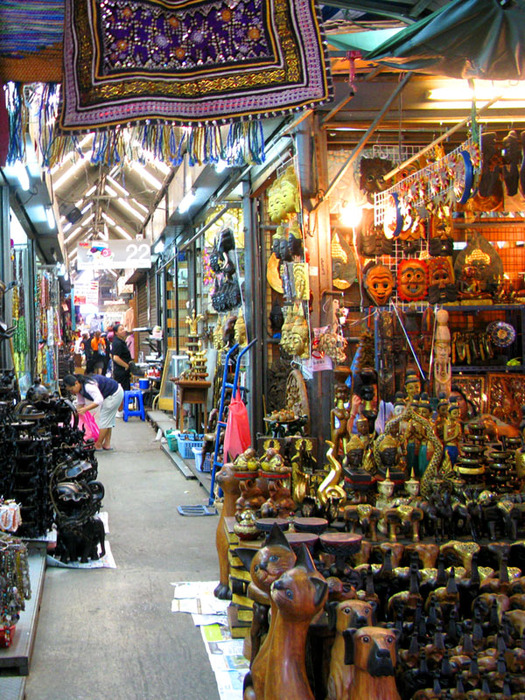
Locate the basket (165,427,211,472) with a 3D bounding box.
[{"bbox_3d":[-0.922,1.266,7.679,0.555,0.213,0.894,2,-3,-8],"label":"basket"}]

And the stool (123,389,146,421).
[{"bbox_3d":[-2.627,1.206,13.282,0.573,0.783,0.564,2,-5,-25],"label":"stool"}]

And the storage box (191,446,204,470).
[{"bbox_3d":[-0.740,1.253,7.141,0.219,0.231,0.277,1,-3,-6],"label":"storage box"}]

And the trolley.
[{"bbox_3d":[-0.445,0.727,5.893,0.509,1.575,0.445,1,-10,3],"label":"trolley"}]

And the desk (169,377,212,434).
[{"bbox_3d":[-0.955,0.777,8.431,0.411,0.880,0.901,1,-1,-10],"label":"desk"}]

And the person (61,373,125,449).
[{"bbox_3d":[-2.163,0.882,8.308,0.614,1.057,1.868,2,-3,-12],"label":"person"}]

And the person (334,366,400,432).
[{"bbox_3d":[0.594,0.313,3.869,0.259,0.429,1.005,1,-5,4],"label":"person"}]
